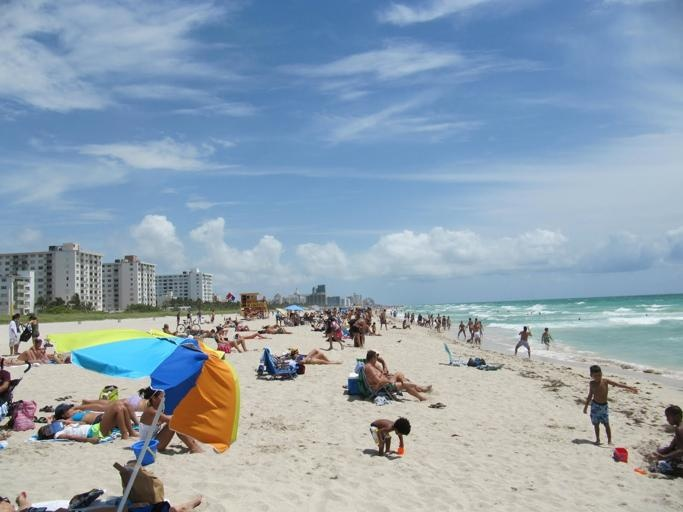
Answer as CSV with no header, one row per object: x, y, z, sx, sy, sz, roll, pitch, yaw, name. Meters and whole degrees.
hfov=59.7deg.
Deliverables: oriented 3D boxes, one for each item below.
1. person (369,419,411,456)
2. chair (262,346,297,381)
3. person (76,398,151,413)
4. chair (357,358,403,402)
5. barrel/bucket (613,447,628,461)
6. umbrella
1.002,3.681,12.261,0.796,0.761,0.434,1,-3,9,person
-1.894,3.214,18.142,1.150,0.896,0.957,2,-3,-7,chair
-5.077,3.287,13.196,0.913,0.228,0.705,-3,-2,17,person
1.016,3.385,15.935,1.019,1.200,0.904,-26,-3,-7,chair
5.976,4.211,12.679,0.248,0.243,0.282,4,-7,-12,barrel/bucket
-3.155,2.049,10.110,2.921,2.785,2.868,33,-12,-20,umbrella
